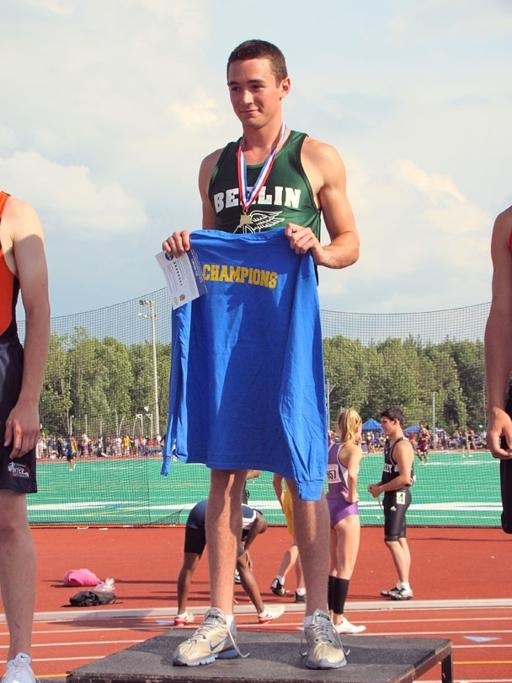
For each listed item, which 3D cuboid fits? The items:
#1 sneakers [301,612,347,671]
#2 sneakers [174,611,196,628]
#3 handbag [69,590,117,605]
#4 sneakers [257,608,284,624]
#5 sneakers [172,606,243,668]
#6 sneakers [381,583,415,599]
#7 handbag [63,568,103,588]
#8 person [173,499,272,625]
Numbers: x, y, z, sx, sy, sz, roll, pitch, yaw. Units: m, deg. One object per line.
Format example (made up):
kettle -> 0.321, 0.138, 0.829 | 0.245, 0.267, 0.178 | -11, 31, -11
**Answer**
sneakers -> 0.268, 1.163, 3.744 | 0.174, 0.209, 0.246 | 8, 1, 3
sneakers -> -0.542, 2.110, 7.346 | 0.067, 0.082, 0.187 | 1, 1, 24
handbag -> -1.409, 2.205, 8.289 | 0.225, 0.080, 0.176 | 2, -6, -29
sneakers -> 0.105, 2.110, 7.472 | 0.084, 0.098, 0.250 | 7, 12, 37
sneakers -> -0.182, 1.176, 3.805 | 0.125, 0.185, 0.337 | -6, -14, 33
sneakers -> 1.247, 2.203, 8.585 | 0.116, 0.141, 0.312 | 6, -5, -33
handbag -> -1.694, 2.330, 9.476 | 0.352, 0.170, 0.293 | 8, 0, -10
person -> -0.203, 1.711, 7.447 | 0.870, 0.936, 0.510 | 10, -22, -26
